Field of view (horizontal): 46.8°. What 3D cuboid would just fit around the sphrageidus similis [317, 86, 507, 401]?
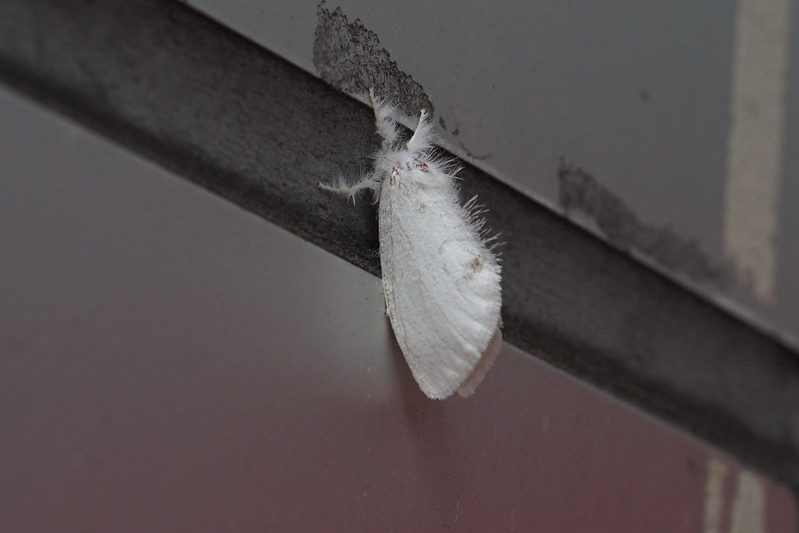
[{"bbox_3d":[0.000,-0.026,1.463,0.106,0.286,0.454,-15,-92,56],"label":"sphrageidus similis"}]
